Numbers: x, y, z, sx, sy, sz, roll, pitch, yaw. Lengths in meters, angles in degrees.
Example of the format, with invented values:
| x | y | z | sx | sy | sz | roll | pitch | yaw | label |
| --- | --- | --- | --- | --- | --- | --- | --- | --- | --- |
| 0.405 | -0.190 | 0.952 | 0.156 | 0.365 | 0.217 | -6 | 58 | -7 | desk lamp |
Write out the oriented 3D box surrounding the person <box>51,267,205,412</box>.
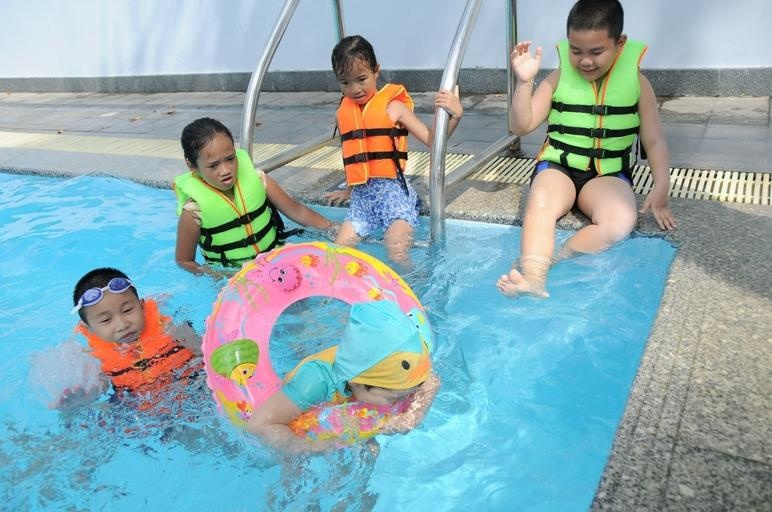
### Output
| x | y | z | sx | sy | sz | roll | pitch | yaw | label |
| --- | --- | --- | --- | --- | --- | --- | --- | --- | --- |
| -1.435 | 0.486 | 2.899 | 0.586 | 0.344 | 0.811 | -29 | 72 | -21 | person |
